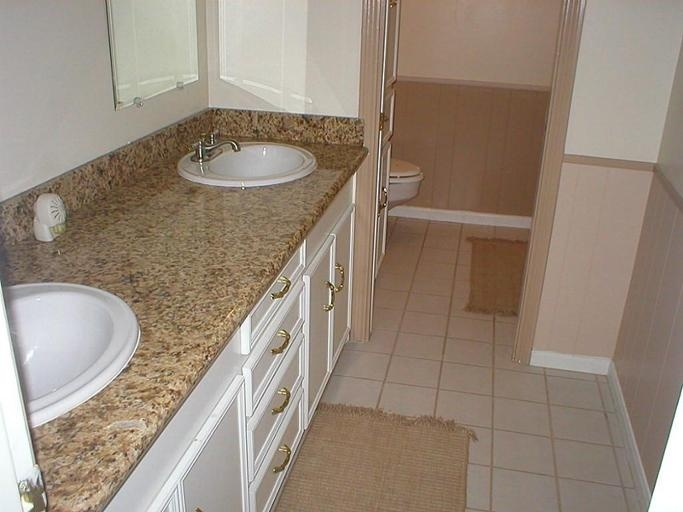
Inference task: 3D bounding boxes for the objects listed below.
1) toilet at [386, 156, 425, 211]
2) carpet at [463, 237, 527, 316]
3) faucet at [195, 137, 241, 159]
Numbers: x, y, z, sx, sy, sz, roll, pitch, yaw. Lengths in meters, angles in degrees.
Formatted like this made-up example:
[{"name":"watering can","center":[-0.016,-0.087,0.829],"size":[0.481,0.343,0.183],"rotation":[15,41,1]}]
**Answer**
[{"name":"toilet","center":[0.469,-0.514,3.892],"size":[0.232,0.281,0.452],"rotation":[6,27,4]},{"name":"carpet","center":[1.068,0.137,3.622],"size":[0.378,0.018,0.903],"rotation":[5,28,12]},{"name":"faucet","center":[-0.520,-0.443,2.159],"size":[0.119,0.050,0.126],"rotation":[7,27,8]}]
